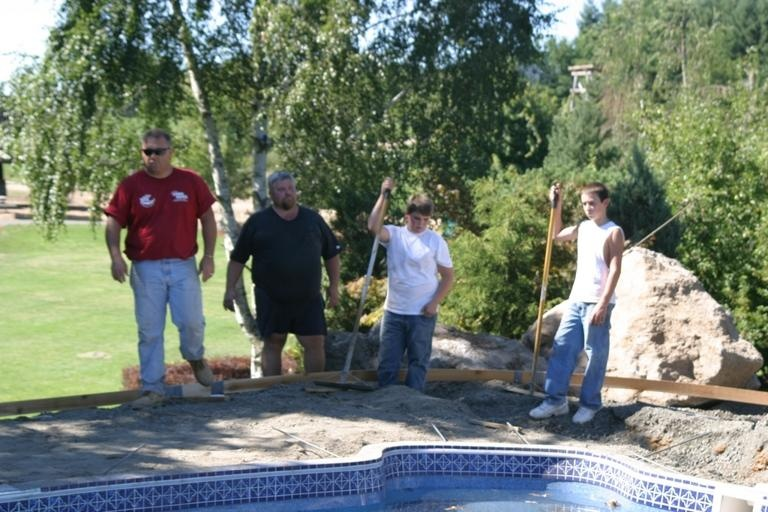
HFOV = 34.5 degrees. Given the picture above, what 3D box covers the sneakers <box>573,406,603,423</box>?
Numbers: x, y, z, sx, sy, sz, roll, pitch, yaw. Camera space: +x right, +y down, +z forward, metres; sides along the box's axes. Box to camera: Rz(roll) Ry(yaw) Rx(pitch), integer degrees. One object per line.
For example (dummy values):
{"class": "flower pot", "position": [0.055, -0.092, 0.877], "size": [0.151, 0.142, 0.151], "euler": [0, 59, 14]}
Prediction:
{"class": "sneakers", "position": [4.103, 3.238, 25.271], "size": [0.509, 0.282, 0.247], "euler": [-3, -12, 14]}
